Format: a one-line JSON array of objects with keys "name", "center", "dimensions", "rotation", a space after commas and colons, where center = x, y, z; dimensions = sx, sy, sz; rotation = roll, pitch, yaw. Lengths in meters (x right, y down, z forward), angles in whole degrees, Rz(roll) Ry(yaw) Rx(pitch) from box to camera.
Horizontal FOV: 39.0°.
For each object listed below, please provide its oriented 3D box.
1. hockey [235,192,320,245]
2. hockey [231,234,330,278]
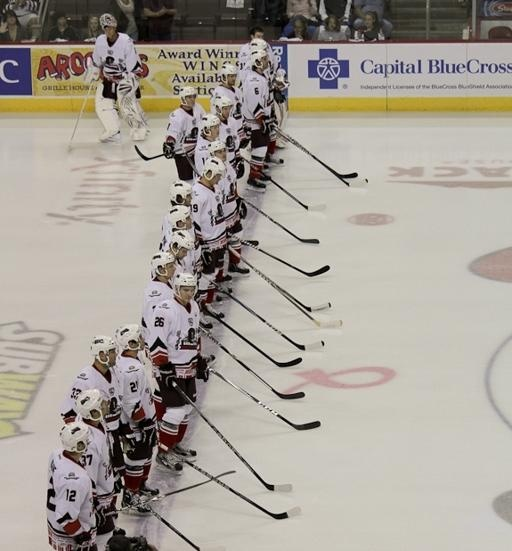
[{"name": "hockey", "center": [0.279, -0.712, 9.111], "dimensions": [1.668, 0.171, 0.157], "rotation": [24, 47, -11]}, {"name": "hockey", "center": [0.295, -0.368, 8.652], "dimensions": [0.546, 0.209, 1.525], "rotation": [14, 13, -25]}]
